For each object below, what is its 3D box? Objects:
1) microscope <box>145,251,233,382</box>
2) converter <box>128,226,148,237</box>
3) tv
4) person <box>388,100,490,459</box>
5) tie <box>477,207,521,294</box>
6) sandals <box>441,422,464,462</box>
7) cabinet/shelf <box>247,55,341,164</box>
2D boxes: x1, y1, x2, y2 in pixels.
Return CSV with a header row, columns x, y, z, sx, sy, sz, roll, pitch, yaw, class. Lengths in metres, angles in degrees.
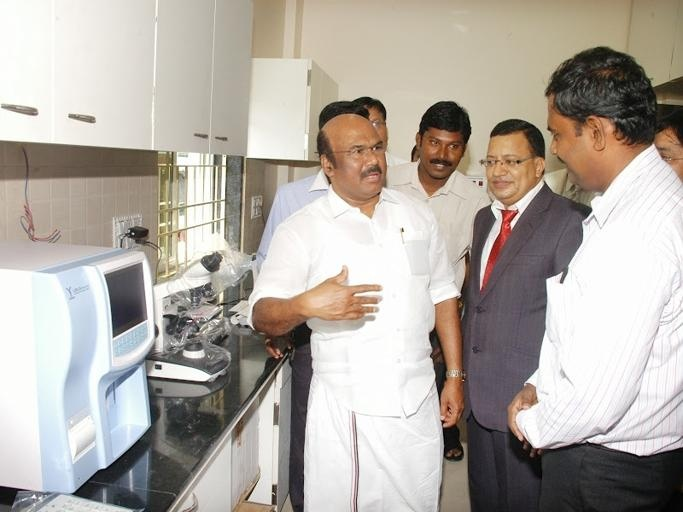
x,y,z,sx,sy,sz,roll,pitch,yaw,class
-0.617,0.265,2.180,0.293,0.514,0.310,6,9,2,microscope
-0.969,-0.119,2.477,0.048,0.039,0.069,8,13,22,converter
-0.682,0.161,1.598,0.108,0.300,0.154,10,8,17,tv
0.611,0.133,2.863,0.564,1.802,0.531,-9,9,-9,person
0.662,-0.019,2.227,0.104,0.342,0.157,7,13,7,tie
0.675,1.145,3.204,0.139,0.118,0.419,-2,1,5,sandals
-0.279,-0.956,3.650,0.502,0.794,1.050,3,8,15,cabinet/shelf
